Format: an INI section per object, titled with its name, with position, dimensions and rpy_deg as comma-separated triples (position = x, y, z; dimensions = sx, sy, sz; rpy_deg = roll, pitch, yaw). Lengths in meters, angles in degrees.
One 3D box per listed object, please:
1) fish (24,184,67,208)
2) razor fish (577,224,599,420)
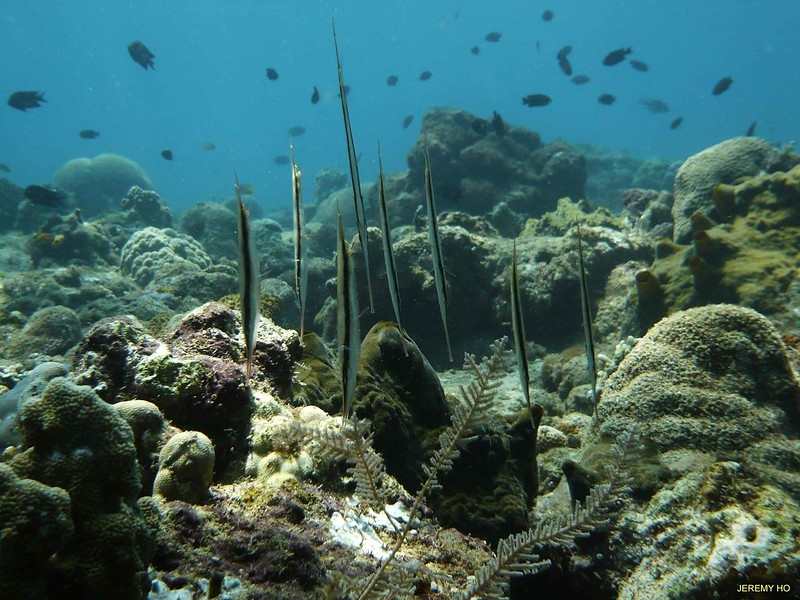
[fish]
position = -8.849, -2.640, 19.891
dimensions = 0.809, 0.655, 0.779
rpy_deg = 3, -21, -16
[razor fish]
position = 3.305, 0.507, 14.093
dimensions = 0.142, 3.686, 0.446
rpy_deg = -2, -8, -7
